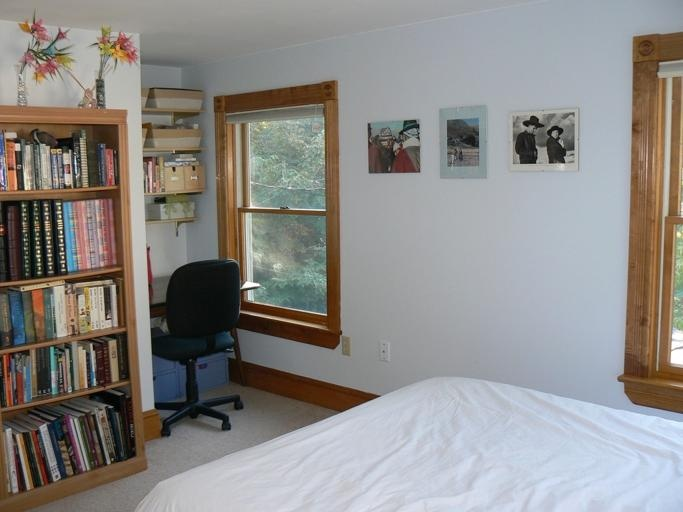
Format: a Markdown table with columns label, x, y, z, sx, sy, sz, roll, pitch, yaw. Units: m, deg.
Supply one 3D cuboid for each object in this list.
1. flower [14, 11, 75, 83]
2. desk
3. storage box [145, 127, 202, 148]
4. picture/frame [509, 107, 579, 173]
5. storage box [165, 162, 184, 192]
| label | x | y | z | sx | sy | sz | roll | pitch | yaw |
| --- | --- | --- | --- | --- | --- | --- | --- | --- | --- |
| flower | -1.775 | -1.227 | 3.038 | 0.386 | 0.297 | 0.377 | -11 | 46 | -22 |
| desk | -1.049 | 0.390 | 3.823 | 0.765 | 0.804 | 0.404 | -7 | 16 | -22 |
| storage box | -1.435 | -1.013 | 4.372 | 0.236 | 0.107 | 0.306 | 0 | 1 | 0 |
| picture/frame | 1.197 | -0.679 | 2.938 | 0.403 | 0.342 | 0.016 | 5 | 7 | 39 |
| storage box | -1.436 | -0.677 | 4.377 | 0.050 | 0.237 | 0.181 | 11 | 19 | 39 |
